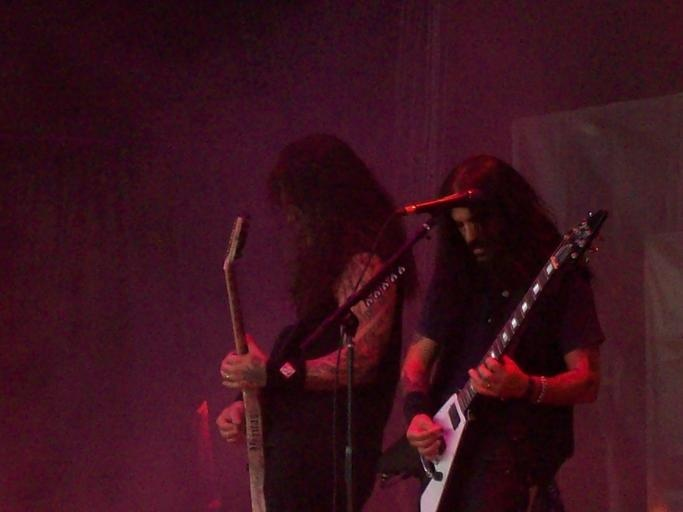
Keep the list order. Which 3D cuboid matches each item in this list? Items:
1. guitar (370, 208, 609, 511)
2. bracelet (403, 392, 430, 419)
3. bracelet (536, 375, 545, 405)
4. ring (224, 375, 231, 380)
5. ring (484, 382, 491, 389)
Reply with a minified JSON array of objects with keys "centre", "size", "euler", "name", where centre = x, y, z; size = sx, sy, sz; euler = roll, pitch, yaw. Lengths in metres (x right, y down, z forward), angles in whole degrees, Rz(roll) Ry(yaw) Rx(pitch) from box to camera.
[{"centre":[0.712,0.475,3.839],"size":[0.222,1.831,0.659],"euler":[15,17,-21],"name":"guitar"},{"centre":[0.337,0.675,3.879],"size":[0.102,0.122,0.119],"euler":[-1,-7,8],"name":"bracelet"},{"centre":[0.861,0.570,3.625],"size":[0.021,0.087,0.070],"euler":[6,1,-9],"name":"bracelet"},{"centre":[-0.554,0.578,4.046],"size":[0.016,0.013,0.031],"euler":[3,-24,4],"name":"ring"},{"centre":[0.620,0.544,3.589],"size":[0.021,0.025,0.005],"euler":[8,7,15],"name":"ring"}]
